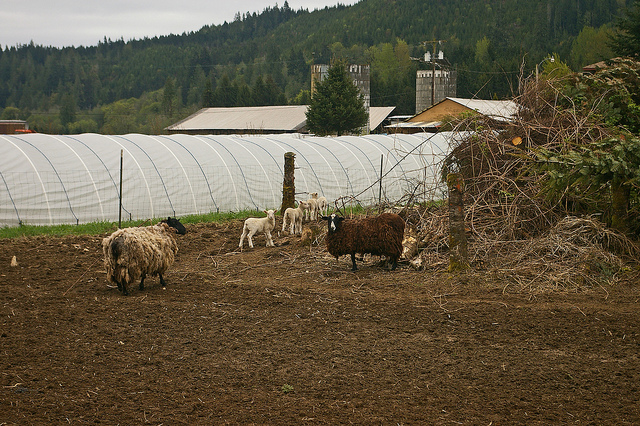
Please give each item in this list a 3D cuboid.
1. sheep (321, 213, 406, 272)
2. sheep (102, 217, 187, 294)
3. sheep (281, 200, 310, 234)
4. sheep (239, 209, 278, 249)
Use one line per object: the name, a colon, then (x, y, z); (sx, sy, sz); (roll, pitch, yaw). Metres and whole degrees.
sheep: (1.347, 0.848, 32.062); (2.577, 1.760, 1.361); (-1, 6, 4)
sheep: (-5.294, 1.223, 31.041); (1.546, 1.990, 2.937); (2, 5, 31)
sheep: (-0.894, 0.092, 35.110); (0.823, 1.022, 1.284); (-1, 8, -1)
sheep: (-2.066, 0.456, 33.766); (1.152, 1.239, 0.773); (-1, 8, -5)
